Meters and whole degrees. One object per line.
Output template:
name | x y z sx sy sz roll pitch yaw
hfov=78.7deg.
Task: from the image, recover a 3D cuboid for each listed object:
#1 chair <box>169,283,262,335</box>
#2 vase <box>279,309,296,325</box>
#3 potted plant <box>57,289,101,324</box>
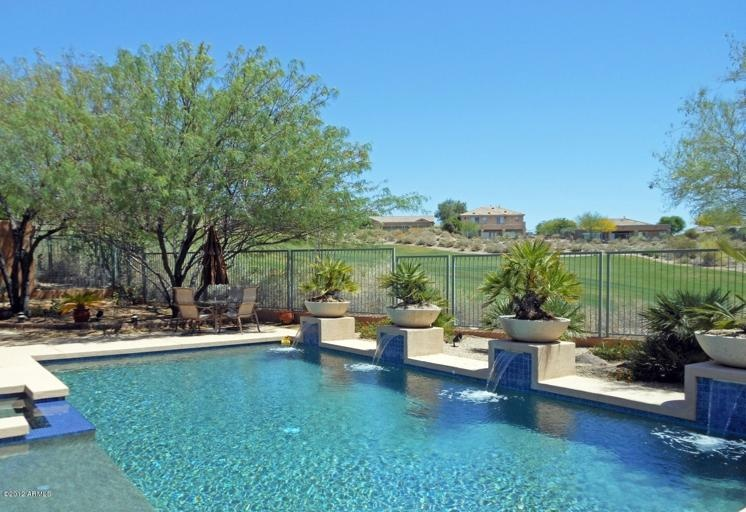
chair | -4.778 1.650 13.999 2.533 1.443 1.567 -4 4 -44
vase | -3.023 2.175 16.195 0.514 0.412 0.609 -1 4 -11
potted plant | -9.531 1.721 14.997 1.221 0.768 1.104 5 -16 -33
